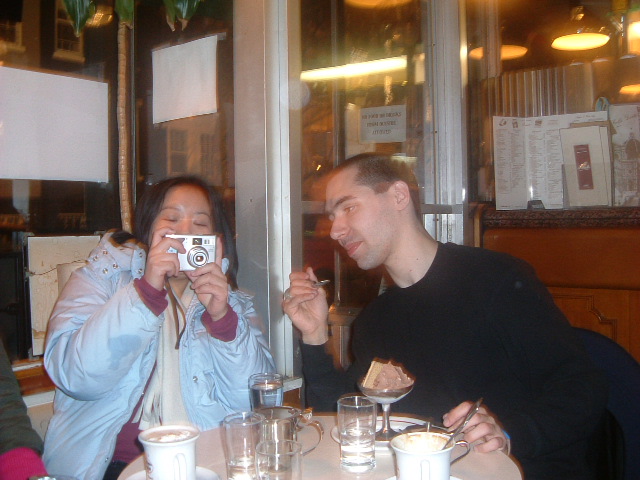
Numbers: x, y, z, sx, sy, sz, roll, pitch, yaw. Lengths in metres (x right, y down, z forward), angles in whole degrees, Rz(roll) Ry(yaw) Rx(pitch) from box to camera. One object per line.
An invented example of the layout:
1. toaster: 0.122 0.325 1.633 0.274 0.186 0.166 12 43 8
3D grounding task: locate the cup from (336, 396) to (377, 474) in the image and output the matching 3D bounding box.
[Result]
1. cup: 0.120 0.648 1.830 0.164 0.260 0.160 0 -17 0

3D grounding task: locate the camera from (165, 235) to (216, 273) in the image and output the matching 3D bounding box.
1. camera: -0.593 0.052 2.397 0.140 0.159 0.235 14 9 32

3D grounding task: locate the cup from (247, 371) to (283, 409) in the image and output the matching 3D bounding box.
1. cup: -0.199 0.584 2.123 0.116 0.131 0.121 -4 -1 0

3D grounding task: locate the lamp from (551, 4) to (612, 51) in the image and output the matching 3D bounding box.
1. lamp: 1.966 -1.630 4.182 0.383 0.424 0.427 -3 1 27

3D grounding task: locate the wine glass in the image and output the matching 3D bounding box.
1. wine glass: 0.242 0.612 2.043 0.188 0.207 0.194 -5 -14 22
